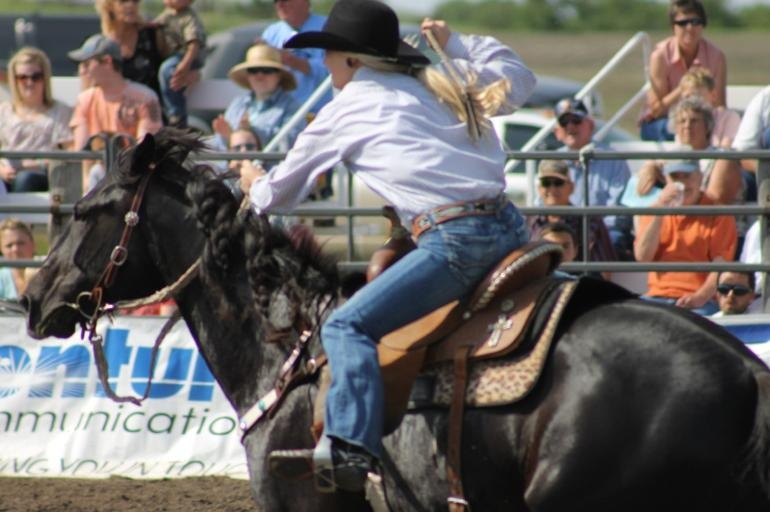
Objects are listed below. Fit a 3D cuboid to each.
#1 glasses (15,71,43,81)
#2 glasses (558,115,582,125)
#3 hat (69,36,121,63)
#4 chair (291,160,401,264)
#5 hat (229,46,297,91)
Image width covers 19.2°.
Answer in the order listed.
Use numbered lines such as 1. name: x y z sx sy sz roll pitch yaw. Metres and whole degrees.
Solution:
1. glasses: -4.331 -2.152 27.704 0.333 0.109 0.068 -2 15 -10
2. glasses: 2.162 -1.595 27.095 0.311 0.162 0.083 2 15 3
3. hat: -3.538 -2.478 27.701 0.541 0.231 0.312 -2 7 -7
4. chair: -0.439 -0.466 27.075 1.247 1.261 1.096 -1 -1 33
5. hat: -1.460 -2.280 28.382 0.733 0.314 0.673 0 -23 14
